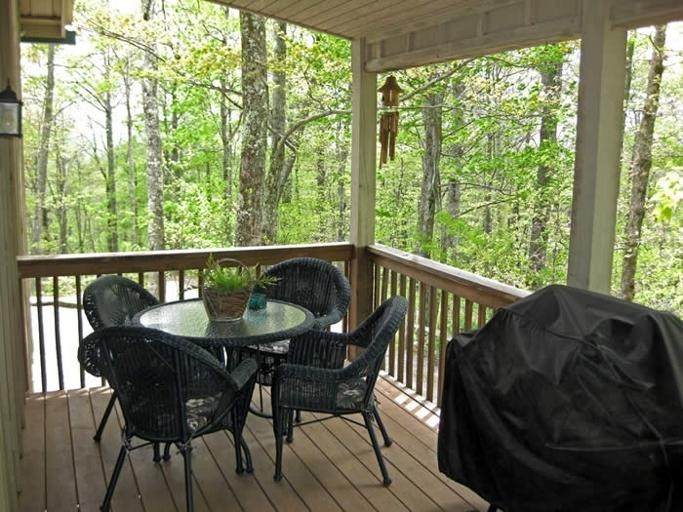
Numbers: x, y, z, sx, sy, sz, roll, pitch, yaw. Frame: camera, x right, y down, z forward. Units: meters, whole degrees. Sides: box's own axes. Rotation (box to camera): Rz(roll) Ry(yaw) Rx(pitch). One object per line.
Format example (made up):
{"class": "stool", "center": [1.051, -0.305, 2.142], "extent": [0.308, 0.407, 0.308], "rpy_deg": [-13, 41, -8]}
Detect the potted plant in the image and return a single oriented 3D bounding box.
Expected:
{"class": "potted plant", "center": [-0.749, 0.210, 3.656], "extent": [0.402, 0.359, 0.467], "rpy_deg": [0, 1, -25]}

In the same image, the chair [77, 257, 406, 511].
{"class": "chair", "center": [-0.537, 0.741, 3.177], "extent": [1.294, 0.750, 1.441], "rpy_deg": [0, -6, 5]}

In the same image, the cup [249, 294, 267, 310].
{"class": "cup", "center": [-0.571, 0.310, 3.873], "extent": [0.100, 0.105, 0.103], "rpy_deg": [-1, 2, 0]}
